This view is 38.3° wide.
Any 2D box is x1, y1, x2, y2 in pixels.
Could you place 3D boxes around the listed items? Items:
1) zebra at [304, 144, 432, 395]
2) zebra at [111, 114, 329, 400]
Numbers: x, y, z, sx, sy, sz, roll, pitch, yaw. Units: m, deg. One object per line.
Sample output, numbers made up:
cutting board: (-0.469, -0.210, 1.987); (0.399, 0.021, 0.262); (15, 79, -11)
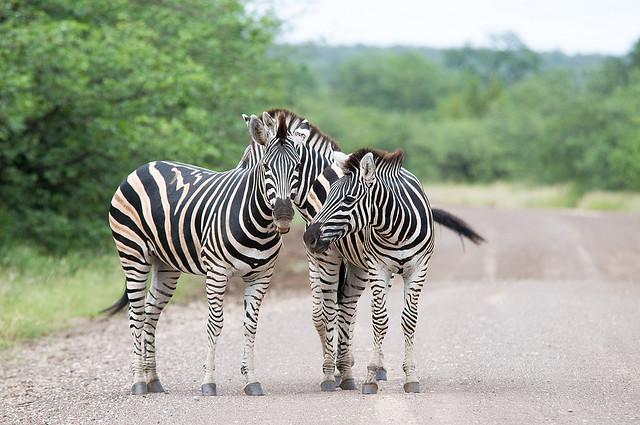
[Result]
zebra: (0.675, 0.691, 13.199); (1.638, 3.390, 2.103); (-2, 10, -1)
zebra: (-1.429, 0.567, 13.187); (1.483, 4.089, 5.030); (0, -2, -37)
